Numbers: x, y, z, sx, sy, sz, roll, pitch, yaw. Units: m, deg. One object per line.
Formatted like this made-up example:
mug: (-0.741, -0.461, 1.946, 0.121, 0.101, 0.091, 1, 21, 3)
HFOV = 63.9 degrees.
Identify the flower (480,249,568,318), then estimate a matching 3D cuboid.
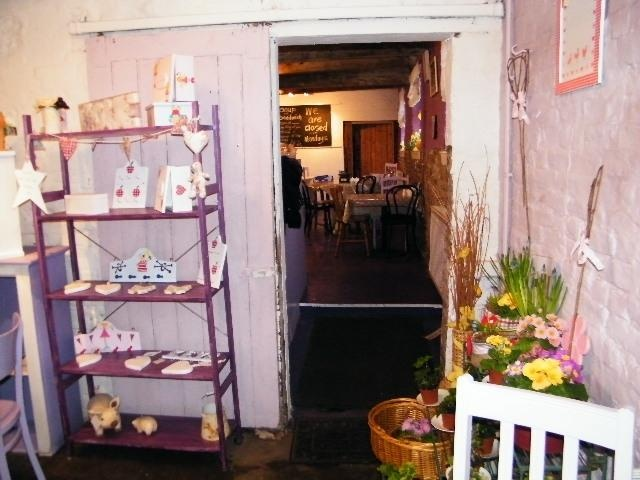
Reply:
flower: (1.012, 0.189, 2.499, 0.304, 0.360, 0.310, -1, -2, -30)

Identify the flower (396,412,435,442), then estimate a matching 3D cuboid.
flower: (0.544, 1.046, 2.860, 0.133, 0.076, 0.153, -6, -1, 6)

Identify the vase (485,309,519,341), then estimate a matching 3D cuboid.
vase: (0.846, 0.391, 2.403, 0.094, 0.096, 0.095, 1, 1, 3)

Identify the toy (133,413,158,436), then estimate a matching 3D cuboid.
toy: (-1.072, 1.129, 3.190, 0.150, 0.101, 0.089, 13, 12, 27)

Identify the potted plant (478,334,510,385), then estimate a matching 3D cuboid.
potted plant: (0.755, 0.517, 2.205, 0.138, 0.189, 0.137, 5, -2, 11)

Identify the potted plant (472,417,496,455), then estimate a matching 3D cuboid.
potted plant: (0.760, 0.907, 2.408, 0.125, 0.168, 0.049, 6, 2, -14)

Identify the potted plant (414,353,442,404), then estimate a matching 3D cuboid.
potted plant: (0.625, 0.823, 2.961, 0.108, 0.226, 0.136, -10, 6, -19)

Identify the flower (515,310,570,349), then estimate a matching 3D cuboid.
flower: (0.965, 0.394, 2.245, 0.187, 0.149, 0.211, 0, 15, 12)

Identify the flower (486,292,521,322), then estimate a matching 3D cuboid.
flower: (0.886, 0.320, 2.473, 0.108, 0.078, 0.119, 12, 17, 44)

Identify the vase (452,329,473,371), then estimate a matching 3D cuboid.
vase: (0.764, 0.583, 2.880, 0.125, 0.205, 0.127, 4, 10, -4)

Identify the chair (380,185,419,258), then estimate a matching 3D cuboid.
chair: (1.163, -0.325, 7.431, 0.518, 1.032, 1.022, 0, 15, 10)

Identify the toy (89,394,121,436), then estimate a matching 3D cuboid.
toy: (-1.351, 1.057, 3.220, 0.148, 0.171, 0.271, -5, 28, -25)

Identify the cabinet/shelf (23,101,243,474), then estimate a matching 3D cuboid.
cabinet/shelf: (-1.111, 0.280, 3.105, 1.133, 2.075, 0.600, -1, 14, 8)

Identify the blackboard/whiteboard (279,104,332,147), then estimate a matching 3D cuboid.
blackboard/whiteboard: (-0.326, -2.622, 11.805, 1.169, 0.967, 0.351, -4, 14, -3)
